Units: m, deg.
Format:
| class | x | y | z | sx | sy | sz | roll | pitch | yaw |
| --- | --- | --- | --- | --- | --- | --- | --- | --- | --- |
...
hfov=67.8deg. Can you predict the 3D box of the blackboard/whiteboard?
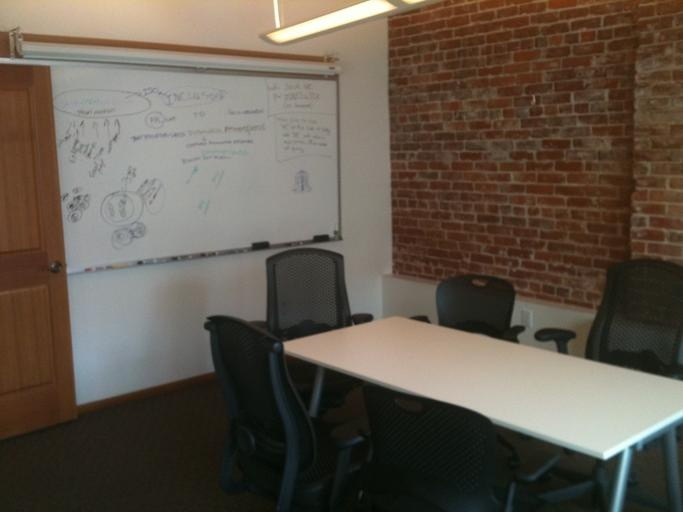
| class | x | y | z | sx | sy | sz | roll | pitch | yaw |
| --- | --- | --- | --- | --- | --- | --- | --- | --- | --- |
| blackboard/whiteboard | -1.359 | -0.750 | 4.102 | 1.944 | 1.199 | 0.070 | -9 | 15 | -35 |
